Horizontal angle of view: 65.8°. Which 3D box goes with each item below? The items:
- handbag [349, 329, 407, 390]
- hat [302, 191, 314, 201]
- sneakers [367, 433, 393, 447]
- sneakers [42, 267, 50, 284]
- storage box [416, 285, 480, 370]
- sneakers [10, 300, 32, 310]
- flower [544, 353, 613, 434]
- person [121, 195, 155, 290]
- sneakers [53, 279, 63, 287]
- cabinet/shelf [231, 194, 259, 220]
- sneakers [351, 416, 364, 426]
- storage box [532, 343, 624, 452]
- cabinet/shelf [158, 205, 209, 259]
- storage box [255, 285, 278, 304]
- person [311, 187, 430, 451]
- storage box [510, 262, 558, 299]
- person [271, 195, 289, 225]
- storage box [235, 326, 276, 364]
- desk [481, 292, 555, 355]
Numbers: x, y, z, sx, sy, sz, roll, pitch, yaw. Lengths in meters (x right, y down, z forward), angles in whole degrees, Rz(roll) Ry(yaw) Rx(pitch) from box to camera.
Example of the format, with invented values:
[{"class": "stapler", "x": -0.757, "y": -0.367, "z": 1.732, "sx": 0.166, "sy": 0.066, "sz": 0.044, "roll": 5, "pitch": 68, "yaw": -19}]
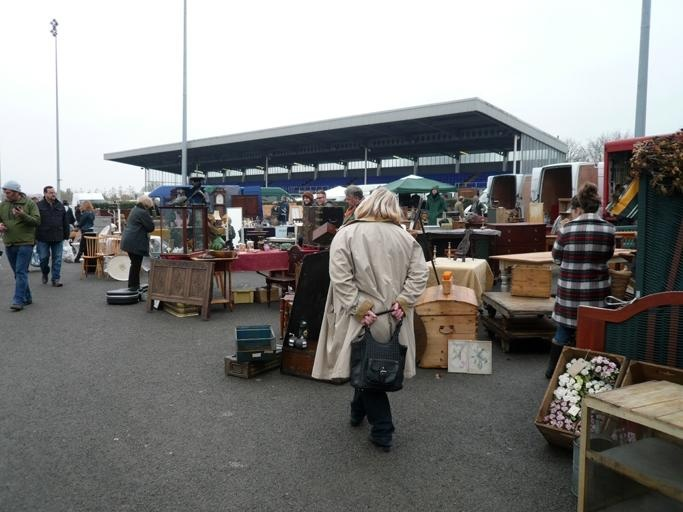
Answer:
[{"class": "handbag", "x": 0.271, "y": 0.852, "z": 4.327, "sx": 0.515, "sy": 0.709, "sz": 0.396, "roll": 3, "pitch": -14, "yaw": -8}, {"class": "hat", "x": -0.749, "y": -1.381, "z": 11.947, "sx": 0.196, "sy": 0.242, "sz": 0.276, "roll": 8, "pitch": -12, "yaw": 26}, {"class": "sneakers", "x": 0.325, "y": 1.531, "z": 4.339, "sx": 0.083, "sy": 0.100, "sz": 0.211, "roll": -3, "pitch": 11, "yaw": -29}, {"class": "sneakers", "x": -6.704, "y": 0.428, "z": 11.949, "sx": 0.128, "sy": 0.375, "sz": 0.269, "roll": 8, "pitch": 45, "yaw": -26}, {"class": "storage box", "x": 1.271, "y": 0.766, "z": 6.507, "sx": 0.707, "sy": 0.905, "sz": 1.229, "roll": -1, "pitch": 4, "yaw": 8}, {"class": "sneakers", "x": -5.518, "y": 0.843, "z": 9.085, "sx": 0.124, "sy": 0.194, "sz": 0.420, "roll": -1, "pitch": -7, "yaw": -5}, {"class": "flower", "x": 1.940, "y": 1.098, "z": 4.301, "sx": 0.208, "sy": 0.638, "sz": 0.434, "roll": 34, "pitch": -10, "yaw": -37}, {"class": "person", "x": -3.975, "y": -0.279, "z": 10.323, "sx": 0.609, "sy": 1.792, "sz": 1.142, "roll": -3, "pitch": 9, "yaw": -20}, {"class": "sneakers", "x": -6.309, "y": 0.602, "z": 11.720, "sx": 0.245, "sy": 0.183, "sz": 0.087, "roll": -4, "pitch": -2, "yaw": 20}, {"class": "cabinet/shelf", "x": -3.764, "y": -1.919, "z": 20.530, "sx": 1.181, "sy": 1.173, "sz": 0.457, "roll": -1, "pitch": -1, "yaw": -26}, {"class": "sneakers", "x": 0.148, "y": 1.492, "z": 4.746, "sx": 0.053, "sy": 0.053, "sz": 0.119, "roll": 3, "pitch": -11, "yaw": 44}, {"class": "storage box", "x": 1.984, "y": 1.156, "z": 4.393, "sx": 0.538, "sy": 0.891, "sz": 0.362, "roll": 16, "pitch": -18, "yaw": 45}, {"class": "cabinet/shelf", "x": -2.706, "y": -0.442, "z": 9.409, "sx": 0.782, "sy": 1.163, "sz": 0.864, "roll": 0, "pitch": 3, "yaw": 1}, {"class": "storage box", "x": -1.394, "y": 0.732, "z": 9.954, "sx": 0.301, "sy": 0.204, "sz": 0.313, "roll": 0, "pitch": 8, "yaw": -8}, {"class": "person", "x": 0.244, "y": 0.266, "z": 4.380, "sx": 0.970, "sy": 1.646, "sz": 0.490, "roll": 0, "pitch": 8, "yaw": -4}, {"class": "storage box", "x": 2.601, "y": 0.334, "z": 7.353, "sx": 0.495, "sy": 0.398, "sz": 0.510, "roll": 0, "pitch": 2, "yaw": -1}, {"class": "person", "x": -2.459, "y": -1.764, "z": 21.391, "sx": 0.687, "sy": 0.791, "sz": 1.646, "roll": -1, "pitch": 9, "yaw": -8}, {"class": "storage box", "x": -0.966, "y": 1.010, "z": 6.007, "sx": 0.462, "sy": 0.362, "sz": 0.395, "roll": -1, "pitch": 9, "yaw": -9}, {"class": "desk", "x": 2.311, "y": 0.826, "z": 6.994, "sx": 0.664, "sy": 0.443, "sz": 0.811, "roll": -1, "pitch": 6, "yaw": -11}]
